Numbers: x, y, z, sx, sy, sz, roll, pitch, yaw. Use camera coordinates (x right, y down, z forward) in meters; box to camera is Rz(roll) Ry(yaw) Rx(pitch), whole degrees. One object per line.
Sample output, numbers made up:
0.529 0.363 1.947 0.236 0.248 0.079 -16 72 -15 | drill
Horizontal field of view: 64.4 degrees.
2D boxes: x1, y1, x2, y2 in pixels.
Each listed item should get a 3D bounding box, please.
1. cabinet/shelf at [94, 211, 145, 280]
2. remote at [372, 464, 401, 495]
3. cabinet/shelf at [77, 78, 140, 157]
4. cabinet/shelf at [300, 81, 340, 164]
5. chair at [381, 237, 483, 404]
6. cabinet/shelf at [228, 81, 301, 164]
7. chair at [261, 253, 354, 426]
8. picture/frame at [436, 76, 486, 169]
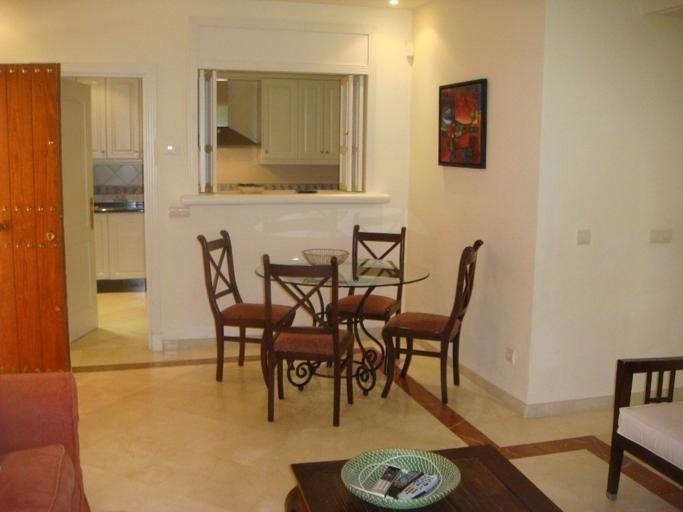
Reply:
-2.827 -0.157 6.836 0.776 0.810 0.426 0 4 -15 | cabinet/shelf
0.187 0.917 2.223 0.050 0.017 0.144 3 20 24 | remote
-2.912 -1.746 6.948 0.664 1.000 0.262 -4 13 -20 | cabinet/shelf
-0.302 -1.868 7.608 0.547 1.138 0.169 -1 13 -5 | cabinet/shelf
0.726 0.436 4.272 0.712 1.182 0.875 4 13 14 | chair
-1.040 -1.862 7.931 1.288 1.342 0.979 -1 7 -4 | cabinet/shelf
-0.245 0.506 3.897 0.654 1.187 0.847 -1 13 -9 | chair
0.999 -1.088 4.426 0.055 0.900 0.746 -5 9 -24 | picture/frame
